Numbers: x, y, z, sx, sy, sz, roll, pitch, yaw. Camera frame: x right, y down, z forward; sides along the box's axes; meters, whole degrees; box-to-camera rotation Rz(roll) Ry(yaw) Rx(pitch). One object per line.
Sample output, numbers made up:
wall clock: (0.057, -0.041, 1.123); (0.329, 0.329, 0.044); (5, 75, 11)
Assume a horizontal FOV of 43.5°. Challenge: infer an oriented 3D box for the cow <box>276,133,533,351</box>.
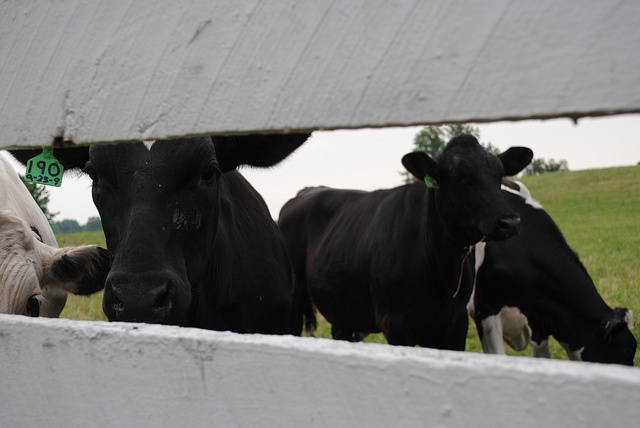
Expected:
cow: (0.502, 0.464, 6.352); (0.745, 1.808, 3.028); (-4, -3, -27)
